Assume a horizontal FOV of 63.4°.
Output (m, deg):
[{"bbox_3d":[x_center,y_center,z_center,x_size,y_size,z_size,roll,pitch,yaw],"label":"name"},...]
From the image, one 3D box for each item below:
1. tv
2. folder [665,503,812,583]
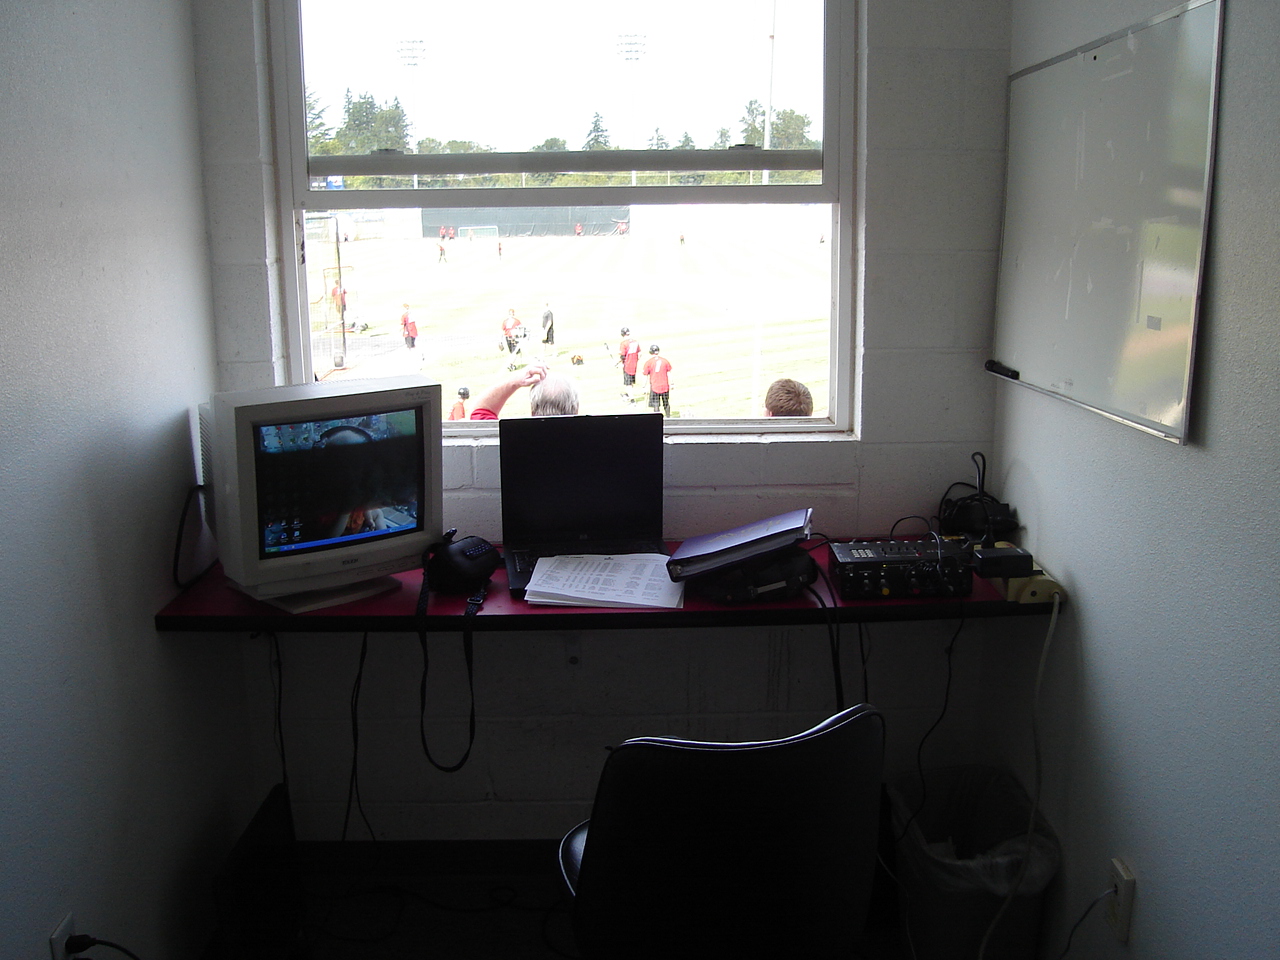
[{"bbox_3d":[-0.772,-0.069,2.786,0.693,0.698,0.511,-6,13,-34],"label":"tv"},{"bbox_3d":[0.205,0.174,2.653,0.238,0.055,0.249,-17,3,12],"label":"folder"}]
